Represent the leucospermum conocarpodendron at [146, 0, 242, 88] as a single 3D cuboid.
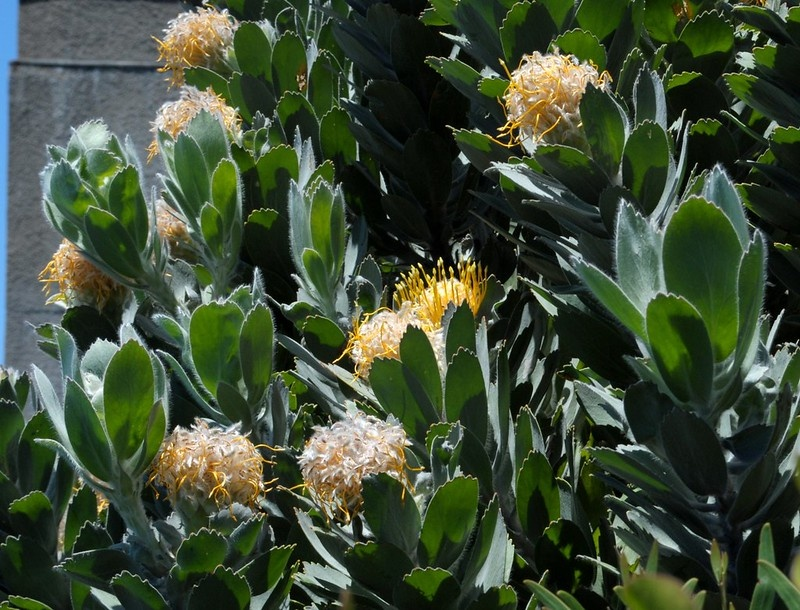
[{"bbox_3d":[-0.310,-0.386,2.148,0.121,0.142,0.255,0,24,-7],"label":"leucospermum conocarpodendron"}]
